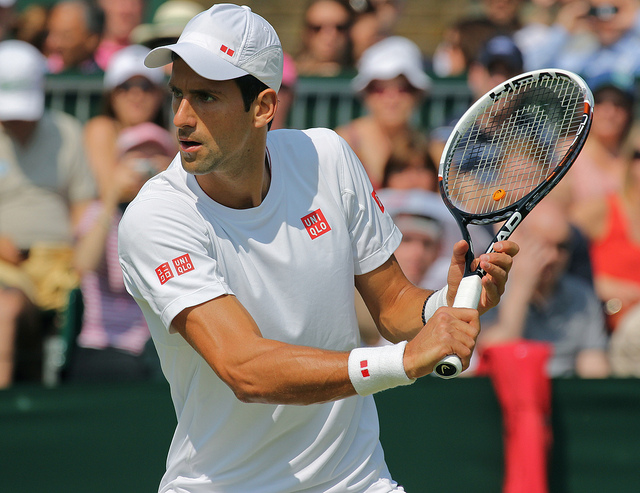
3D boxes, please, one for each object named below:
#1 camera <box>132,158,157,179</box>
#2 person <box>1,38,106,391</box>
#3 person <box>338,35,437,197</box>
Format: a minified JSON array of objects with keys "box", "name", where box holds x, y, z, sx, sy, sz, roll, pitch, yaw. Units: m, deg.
[{"box":[-1.271,-0.559,6.444,0.213,0.112,0.121,11,23,14],"name":"camera"},{"box":[-1.912,-0.285,6.344,0.685,1.921,1.443,-2,22,-15],"name":"person"},{"box":[0.489,-0.916,6.960,0.673,1.379,0.675,-2,-4,-11],"name":"person"}]
